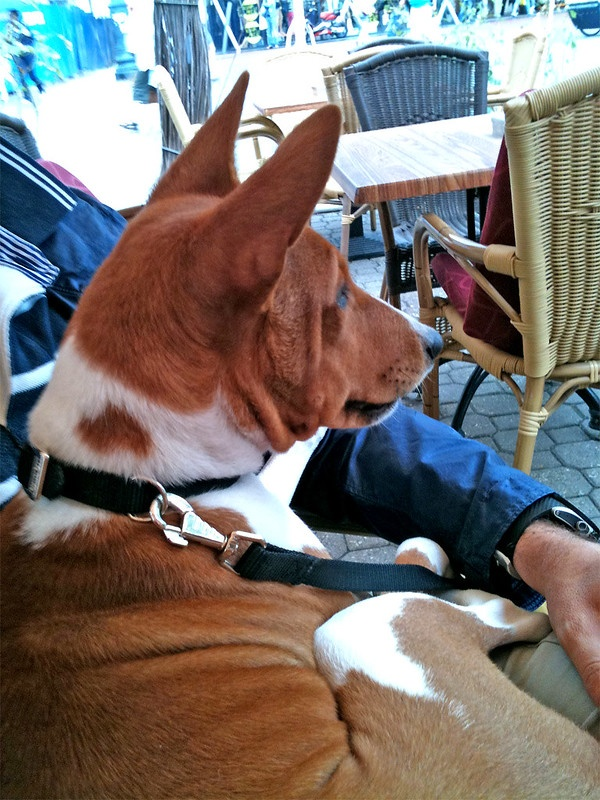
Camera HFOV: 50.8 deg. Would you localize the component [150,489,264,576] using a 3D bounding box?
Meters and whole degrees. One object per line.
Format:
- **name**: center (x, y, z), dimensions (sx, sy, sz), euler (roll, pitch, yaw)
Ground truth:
- **component**: center (-0.169, 0.232, 1.076), dimensions (0.061, 0.230, 0.102), euler (-20, 44, 49)
